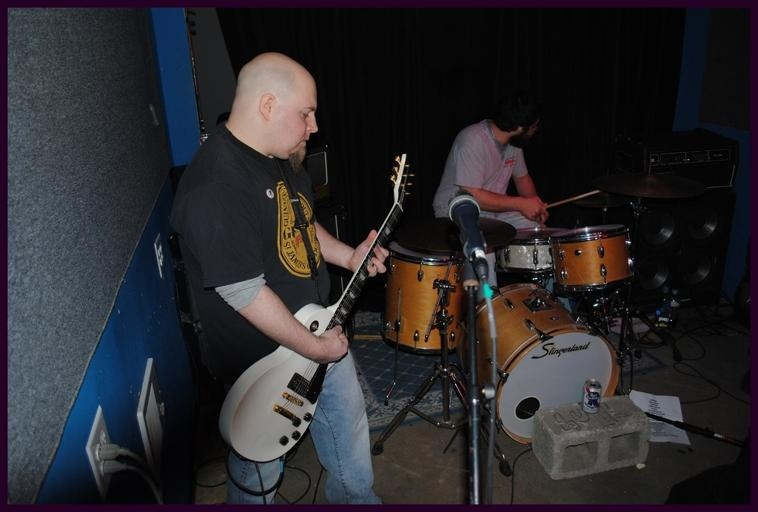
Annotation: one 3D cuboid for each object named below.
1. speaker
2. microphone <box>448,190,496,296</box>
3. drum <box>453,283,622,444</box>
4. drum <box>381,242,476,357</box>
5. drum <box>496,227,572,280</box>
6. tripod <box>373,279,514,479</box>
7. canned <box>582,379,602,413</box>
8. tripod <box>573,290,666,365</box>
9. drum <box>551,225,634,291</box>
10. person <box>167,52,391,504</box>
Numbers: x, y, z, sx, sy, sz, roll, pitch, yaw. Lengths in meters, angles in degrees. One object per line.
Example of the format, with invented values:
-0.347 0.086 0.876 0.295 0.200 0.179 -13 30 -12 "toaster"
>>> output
2.660 -0.147 5.292 0.807 1.170 0.595 -6 27 6 "speaker"
0.397 -0.090 2.308 0.133 0.170 0.535 7 51 -15 "microphone"
1.084 0.735 3.991 1.002 1.007 0.796 9 21 -17 "drum"
0.431 0.312 4.504 0.722 0.714 0.686 -6 14 -39 "drum"
1.108 -0.025 4.264 0.423 0.187 0.389 -2 10 0 "drum"
0.413 0.724 3.845 1.087 1.168 1.093 -3 11 -13 "tripod"
1.398 0.904 3.718 0.133 0.194 0.121 -9 22 -7 "canned"
1.855 0.563 4.413 0.387 0.486 0.519 -11 8 1 "tripod"
1.499 0.013 4.096 0.481 0.360 0.487 -16 3 1 "drum"
-0.494 0.193 2.839 0.937 2.296 0.630 -4 16 -18 "person"
